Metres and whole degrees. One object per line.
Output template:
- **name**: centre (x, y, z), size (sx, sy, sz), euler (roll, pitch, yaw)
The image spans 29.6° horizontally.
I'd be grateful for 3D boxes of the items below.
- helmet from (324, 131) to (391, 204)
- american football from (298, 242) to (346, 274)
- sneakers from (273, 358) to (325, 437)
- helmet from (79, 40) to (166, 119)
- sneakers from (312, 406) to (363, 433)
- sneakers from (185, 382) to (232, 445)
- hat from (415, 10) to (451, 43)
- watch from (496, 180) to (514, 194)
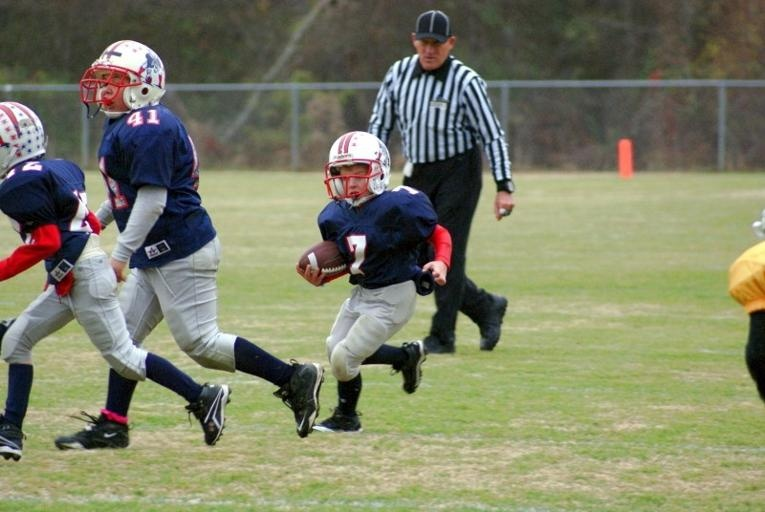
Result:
- **helmet**: centre (-0.137, -0.569, 9.228), size (0.402, 0.409, 0.527), euler (-3, 4, 22)
- **american football**: centre (-0.385, 0.012, 9.069), size (0.269, 0.147, 0.168), euler (-11, -8, -7)
- **sneakers**: centre (-0.500, 0.793, 8.970), size (0.313, 0.545, 0.198), euler (-4, 6, -9)
- **helmet**: centre (-1.600, -1.106, 9.062), size (0.409, 0.417, 0.569), euler (8, 8, 37)
- **sneakers**: centre (-0.259, 1.027, 9.177), size (0.372, 0.149, 0.126), euler (1, -3, 5)
- **sneakers**: centre (-1.050, 0.905, 8.822), size (0.277, 0.443, 0.159), euler (-6, 5, -19)
- **hat**: centre (0.356, -1.606, 10.126), size (0.253, 0.173, 0.345), euler (5, 27, 10)
- **watch**: centre (0.862, -0.489, 10.061), size (0.103, 0.086, 0.090), euler (0, -31, 1)
